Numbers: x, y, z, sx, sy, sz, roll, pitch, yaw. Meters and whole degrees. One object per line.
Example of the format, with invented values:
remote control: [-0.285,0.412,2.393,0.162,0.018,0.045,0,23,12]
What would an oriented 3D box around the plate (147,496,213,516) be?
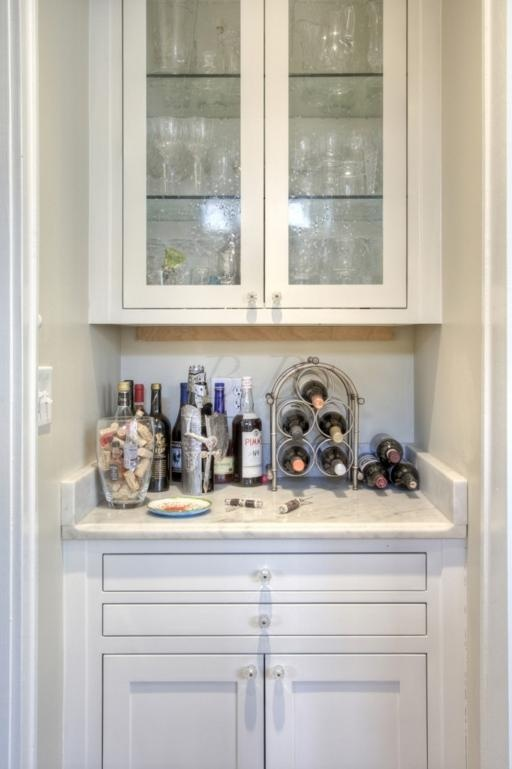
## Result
plate: [-0.167,0.268,1.713,0.130,0.025,0.129,-5,6,-40]
